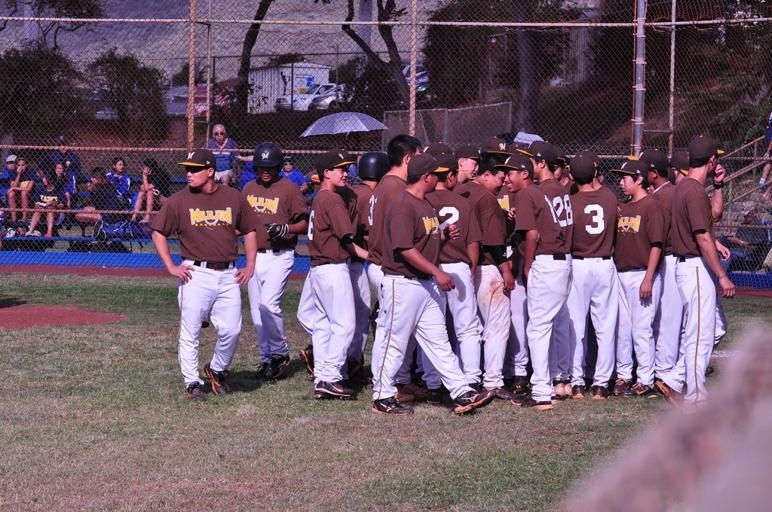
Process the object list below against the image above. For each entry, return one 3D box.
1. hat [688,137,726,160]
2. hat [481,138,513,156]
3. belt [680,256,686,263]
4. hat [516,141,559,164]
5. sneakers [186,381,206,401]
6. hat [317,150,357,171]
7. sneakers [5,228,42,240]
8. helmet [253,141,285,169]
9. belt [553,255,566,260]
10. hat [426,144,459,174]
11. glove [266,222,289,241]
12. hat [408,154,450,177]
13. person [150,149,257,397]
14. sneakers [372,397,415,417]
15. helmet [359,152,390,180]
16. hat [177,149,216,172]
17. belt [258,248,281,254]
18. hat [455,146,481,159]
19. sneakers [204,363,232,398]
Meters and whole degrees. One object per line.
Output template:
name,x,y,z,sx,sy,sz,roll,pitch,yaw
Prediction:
hat,4.213,-1.446,14.721,0.378,0.334,0.479,1,2,15
hat,1.526,-1.539,15.472,0.337,0.173,0.211,-1,12,0
belt,3.900,0.043,14.577,0.059,0.042,0.057,7,11,34
hat,2.143,-1.463,15.444,0.422,0.165,0.292,12,12,22
sneakers,-2.558,1.837,15.005,0.152,0.145,0.326,1,-3,-29
hat,-0.703,-1.334,15.447,0.389,0.182,0.282,-17,6,15
sneakers,-7.643,-0.467,23.402,0.478,0.152,0.189,-2,-37,-6
helmet,-1.686,-1.441,15.903,0.416,0.368,0.239,0,2,-10
belt,2.345,0.013,14.922,0.096,0.082,0.022,-1,-1,-5
hat,0.751,-1.361,15.179,0.501,0.277,0.345,24,25,21
glove,-1.500,-0.354,15.630,0.295,0.185,0.150,-1,3,-34
hat,0.561,-1.204,14.652,0.494,0.253,0.303,-17,18,-11
person,-2.450,0.216,15.130,1.352,3.373,0.447,0,2,-8
sneakers,0.105,2.031,14.695,0.555,0.232,0.206,0,-1,-1
helmet,-0.231,-1.283,15.861,0.456,0.337,0.325,4,2,-40
hat,-2.531,-1.313,15.081,0.397,0.190,0.272,1,1,-34
belt,-1.658,-0.061,15.813,0.325,0.068,0.069,0,2,-3
hat,1.172,-1.481,15.688,0.289,0.155,0.199,5,8,-17
sneakers,-2.300,1.728,15.350,0.254,0.513,0.241,-38,-14,27
